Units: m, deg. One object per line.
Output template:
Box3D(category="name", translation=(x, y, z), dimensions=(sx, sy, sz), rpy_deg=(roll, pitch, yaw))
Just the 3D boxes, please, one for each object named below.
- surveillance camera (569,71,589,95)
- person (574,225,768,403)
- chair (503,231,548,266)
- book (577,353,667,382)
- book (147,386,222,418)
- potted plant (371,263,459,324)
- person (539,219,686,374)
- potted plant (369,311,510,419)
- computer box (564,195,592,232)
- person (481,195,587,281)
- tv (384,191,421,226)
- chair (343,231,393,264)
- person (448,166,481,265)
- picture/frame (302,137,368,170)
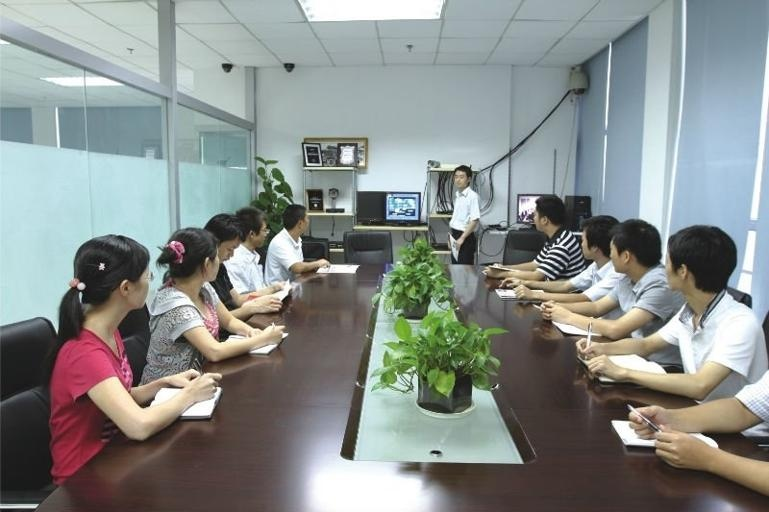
Box3D(category="surveillance camera", translation=(2.492, -2.243, 6.925), dimensions=(0.223, 0.282, 0.284), rpy_deg=(-3, 4, -4))
Box3D(category="person", translation=(1.340, 0.248, 2.859), dimensions=(0.957, 0.873, 0.747), rpy_deg=(0, 4, 7))
Box3D(category="chair", translation=(1.452, -0.082, 5.532), dimensions=(0.322, 0.448, 0.378), rpy_deg=(3, 4, 8))
Box3D(category="book", translation=(1.251, 0.539, 2.640), dimensions=(0.201, 0.049, 0.195), rpy_deg=(-3, 7, -1))
Box3D(category="book", translation=(-0.868, 0.661, 2.336), dimensions=(0.161, 0.040, 0.165), rpy_deg=(2, 11, -2))
Box3D(category="potted plant", translation=(0.191, 0.197, 3.276), dimensions=(0.393, 0.276, 0.392), rpy_deg=(0, 4, -5))
Box3D(category="person", translation=(1.537, 0.340, 3.345), dimensions=(0.801, 1.074, 0.635), rpy_deg=(-10, 9, 30))
Box3D(category="potted plant", translation=(0.258, 0.418, 2.338), dimensions=(0.488, 0.335, 0.493), rpy_deg=(0, 7, 3))
Box3D(category="computer box", translation=(2.311, -0.473, 6.529), dimensions=(0.270, 0.404, 0.277), rpy_deg=(28, 10, 0))
Box3D(category="person", translation=(1.246, -0.158, 4.694), dimensions=(0.905, 0.811, 0.643), rpy_deg=(1, 5, 12))
Box3D(category="tv", translation=(0.256, -0.605, 7.383), dimensions=(0.686, 0.653, 0.379), rpy_deg=(0, 0, 1))
Box3D(category="chair", translation=(-0.171, -0.083, 5.605), dimensions=(0.343, 0.496, 0.405), rpy_deg=(0, 3, -7))
Box3D(category="person", translation=(0.999, -0.502, 6.611), dimensions=(0.340, 1.233, 0.623), rpy_deg=(2, 9, 7))
Box3D(category="picture/frame", translation=(-0.644, -1.400, 7.234), dimensions=(0.854, 0.441, 0.319), rpy_deg=(1, 9, -2))
